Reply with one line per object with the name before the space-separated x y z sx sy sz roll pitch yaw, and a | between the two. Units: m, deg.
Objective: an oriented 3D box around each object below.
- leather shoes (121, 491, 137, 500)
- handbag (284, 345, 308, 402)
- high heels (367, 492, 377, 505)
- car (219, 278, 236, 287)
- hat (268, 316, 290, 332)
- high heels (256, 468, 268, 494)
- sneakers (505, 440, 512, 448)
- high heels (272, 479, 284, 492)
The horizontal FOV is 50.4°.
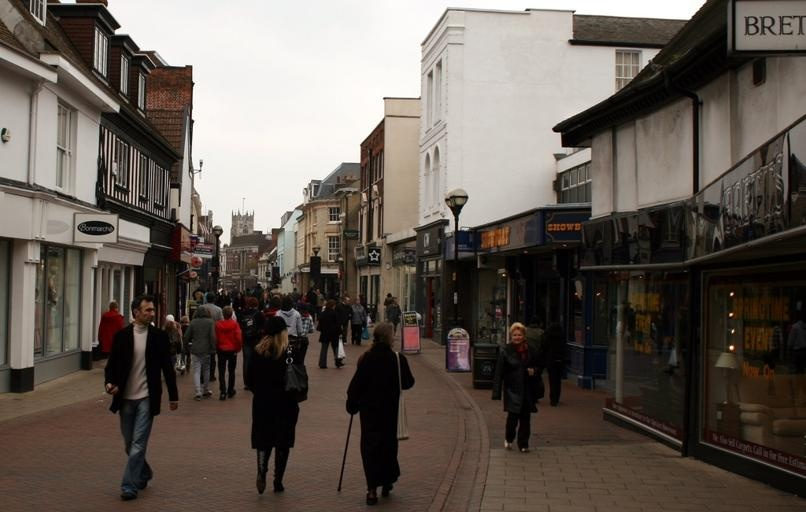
leather shoes | -4.102 3.598 12.857 0.229 0.099 0.100 -17 -35 29
handbag | -1.715 1.918 13.832 0.332 0.880 0.562 1 1 -8
high heels | -0.460 3.681 13.032 0.110 0.188 0.187 3 -12 -10
car | -35.822 5.057 175.795 2.307 2.449 1.683 0 -5 -13
hat | -2.031 1.081 13.727 0.303 0.284 0.186 1 1 -10
high heels | -2.173 3.466 13.257 0.121 0.397 0.160 2 -3 -3
sneakers | 2.003 3.499 16.033 0.111 0.117 0.116 0 -6 1
high heels | -1.936 3.584 13.406 0.125 0.213 0.210 2 1 34
